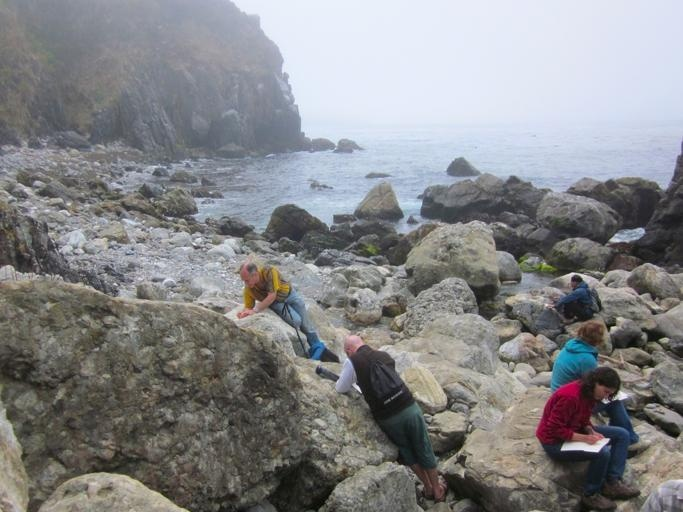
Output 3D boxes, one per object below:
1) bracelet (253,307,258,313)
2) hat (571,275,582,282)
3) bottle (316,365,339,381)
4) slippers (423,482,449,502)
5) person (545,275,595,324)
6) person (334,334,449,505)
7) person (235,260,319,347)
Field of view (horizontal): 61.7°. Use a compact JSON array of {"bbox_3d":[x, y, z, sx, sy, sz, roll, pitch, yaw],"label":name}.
[{"bbox_3d":[-1.399,0.875,9.276,0.070,0.017,0.070,-1,61,-12],"label":"bracelet"},{"bbox_3d":[5.253,0.497,12.777,0.142,0.159,0.173,3,11,3],"label":"hat"},{"bbox_3d":[-0.209,1.660,8.074,0.243,0.089,0.179,24,24,1],"label":"bottle"},{"bbox_3d":[1.270,3.231,7.865,0.148,0.194,0.501,-15,1,17],"label":"slippers"},{"bbox_3d":[5.226,0.961,12.925,1.107,1.061,0.678,-1,10,23],"label":"person"},{"bbox_3d":[0.721,2.308,7.905,1.508,1.942,0.390,6,19,17],"label":"person"},{"bbox_3d":[-1.049,0.783,9.488,1.177,1.417,0.575,-3,19,-12],"label":"person"}]
